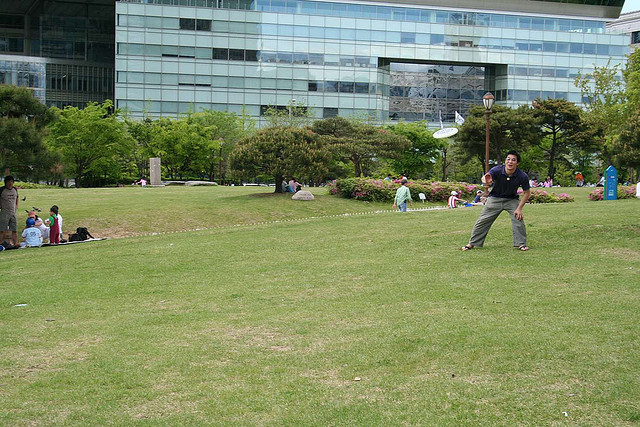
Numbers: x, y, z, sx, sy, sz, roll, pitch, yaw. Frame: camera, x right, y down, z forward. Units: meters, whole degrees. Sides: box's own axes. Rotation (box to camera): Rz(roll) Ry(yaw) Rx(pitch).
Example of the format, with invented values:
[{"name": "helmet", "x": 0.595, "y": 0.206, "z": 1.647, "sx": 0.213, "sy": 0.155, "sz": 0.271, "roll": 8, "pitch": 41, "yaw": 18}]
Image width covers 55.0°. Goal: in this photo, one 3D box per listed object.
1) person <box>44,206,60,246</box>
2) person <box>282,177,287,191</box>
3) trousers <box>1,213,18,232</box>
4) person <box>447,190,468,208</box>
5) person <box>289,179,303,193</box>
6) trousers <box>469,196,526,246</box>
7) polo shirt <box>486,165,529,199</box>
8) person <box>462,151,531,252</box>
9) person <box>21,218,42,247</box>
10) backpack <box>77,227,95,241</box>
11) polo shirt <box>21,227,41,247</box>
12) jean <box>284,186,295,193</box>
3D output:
[{"name": "person", "x": -8.975, "y": 0.378, "z": 20.809, "sx": 0.313, "sy": 1.262, "sz": 0.598, "roll": -2, "pitch": 11, "yaw": -25}, {"name": "person", "x": -2.039, "y": -1.764, "z": 36.027, "sx": 0.272, "sy": 0.764, "sz": 0.581, "roll": 2, "pitch": 10, "yaw": -4}, {"name": "trousers", "x": -10.385, "y": 0.281, "z": 20.539, "sx": 0.351, "sy": 0.586, "sz": 0.626, "roll": -2, "pitch": -3, "yaw": 34}, {"name": "person", "x": 7.627, "y": -0.818, "z": 34.230, "sx": 0.773, "sy": 1.186, "sz": 0.741, "roll": -19, "pitch": 23, "yaw": -29}, {"name": "person", "x": -1.420, "y": -1.651, "z": 35.877, "sx": 0.292, "sy": 0.894, "sz": 0.899, "roll": -6, "pitch": 11, "yaw": -22}, {"name": "trousers", "x": 4.985, "y": 0.251, "z": 17.095, "sx": 1.303, "sy": 1.173, "sz": 0.491, "roll": 15, "pitch": -8, "yaw": 20}, {"name": "polo shirt", "x": 4.842, "y": -0.752, "z": 15.798, "sx": 1.302, "sy": 1.012, "sz": 0.819, "roll": 5, "pitch": -2, "yaw": 22}, {"name": "person", "x": 4.691, "y": -0.310, "z": 15.692, "sx": 1.484, "sy": 2.587, "sz": 0.913, "roll": 6, "pitch": 10, "yaw": 20}, {"name": "person", "x": -9.781, "y": 0.605, "z": 20.962, "sx": 0.995, "sy": 0.976, "sz": 0.715, "roll": 0, "pitch": 5, "yaw": -21}, {"name": "backpack", "x": -8.409, "y": 0.647, "z": 21.881, "sx": 0.386, "sy": 0.510, "sz": 0.496, "roll": 13, "pitch": 2, "yaw": 4}, {"name": "polo shirt", "x": -9.674, "y": 0.757, "z": 20.874, "sx": 0.814, "sy": 0.777, "sz": 0.517, "roll": -1, "pitch": 3, "yaw": -13}, {"name": "jean", "x": -1.708, "y": -1.405, "z": 35.624, "sx": 0.327, "sy": 0.496, "sz": 0.342, "roll": -2, "pitch": 5, "yaw": -36}]
